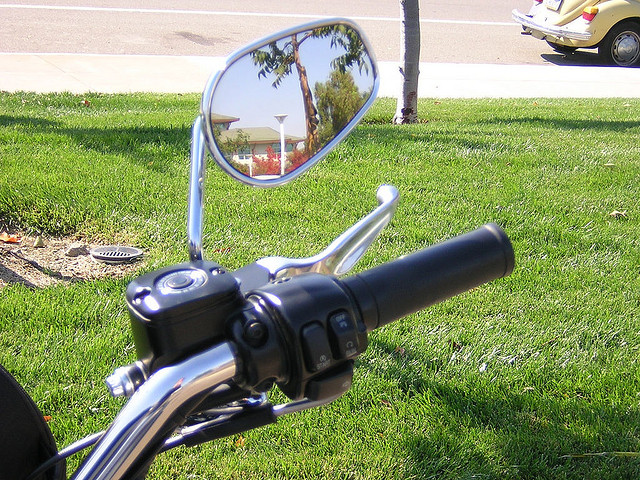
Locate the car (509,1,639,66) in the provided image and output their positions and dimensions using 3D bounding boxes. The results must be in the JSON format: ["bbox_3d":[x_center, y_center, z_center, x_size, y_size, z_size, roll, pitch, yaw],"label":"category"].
[{"bbox_3d":[5.460,-4.354,15.053,2.155,1.371,1.859,5,16,21],"label":"car"}]

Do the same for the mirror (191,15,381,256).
[{"bbox_3d":[-0.124,-0.639,3.245,0.942,0.713,0.213,-14,20,-40],"label":"mirror"}]
